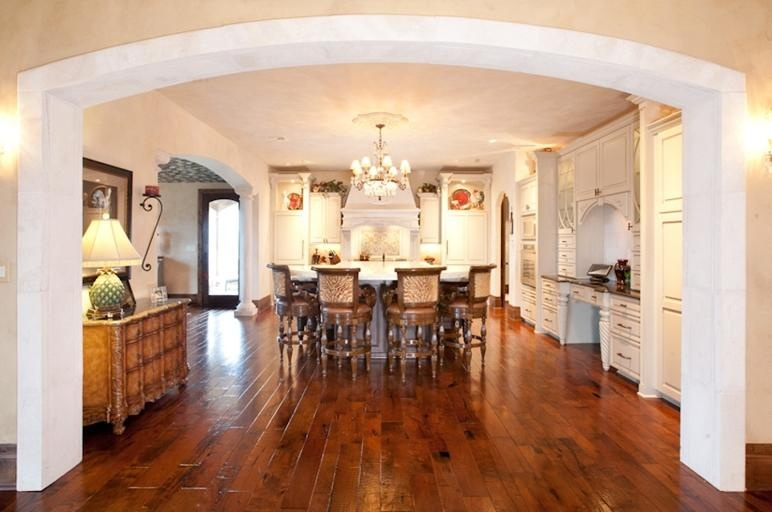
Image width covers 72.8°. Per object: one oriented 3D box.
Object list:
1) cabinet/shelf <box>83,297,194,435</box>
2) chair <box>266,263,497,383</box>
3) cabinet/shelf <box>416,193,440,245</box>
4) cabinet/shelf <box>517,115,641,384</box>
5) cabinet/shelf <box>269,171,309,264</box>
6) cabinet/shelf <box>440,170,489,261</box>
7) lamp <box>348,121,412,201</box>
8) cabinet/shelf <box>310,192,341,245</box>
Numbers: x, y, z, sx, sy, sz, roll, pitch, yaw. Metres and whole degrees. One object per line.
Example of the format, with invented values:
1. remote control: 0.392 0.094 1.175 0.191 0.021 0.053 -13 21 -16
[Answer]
1. cabinet/shelf: -2.498 1.006 5.221 0.504 0.924 1.474 2 3 4
2. chair: -0.031 0.700 6.253 2.559 1.228 1.182 1 5 11
3. cabinet/shelf: 0.861 -0.755 10.807 0.495 1.004 0.498 -1 -1 -14
4. cabinet/shelf: 2.546 -0.075 6.768 0.929 2.731 3.187 1 2 2
5. cabinet/shelf: -1.945 -0.666 10.419 0.806 1.810 0.436 0 9 -11
6. cabinet/shelf: 1.608 -0.696 10.560 1.017 1.781 0.493 0 0 2
7. lamp: -0.074 -1.408 7.536 0.910 1.039 0.876 2 -2 -35
8. cabinet/shelf: -1.281 -0.772 10.659 0.678 1.021 0.365 -2 7 -26
